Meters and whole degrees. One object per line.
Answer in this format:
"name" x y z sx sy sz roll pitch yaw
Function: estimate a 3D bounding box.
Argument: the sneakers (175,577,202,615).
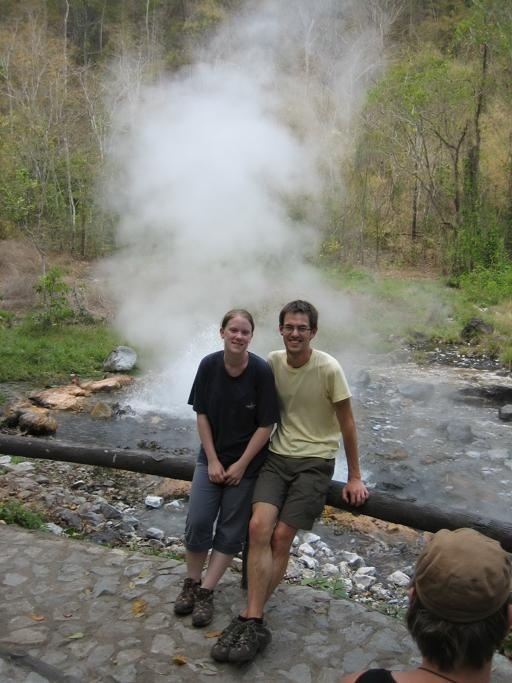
"sneakers" -0.265 1.048 2.353 0.069 0.079 0.179 5 -7 7

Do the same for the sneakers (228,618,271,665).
"sneakers" -0.025 1.070 2.078 0.087 0.108 0.239 -5 -6 25

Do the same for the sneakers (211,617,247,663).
"sneakers" -0.090 1.071 2.089 0.071 0.083 0.216 17 8 23

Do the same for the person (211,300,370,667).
"person" 0.201 0.495 2.259 0.484 1.160 0.646 6 2 10

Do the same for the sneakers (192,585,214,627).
"sneakers" -0.202 1.054 2.278 0.059 0.069 0.159 1 0 0
